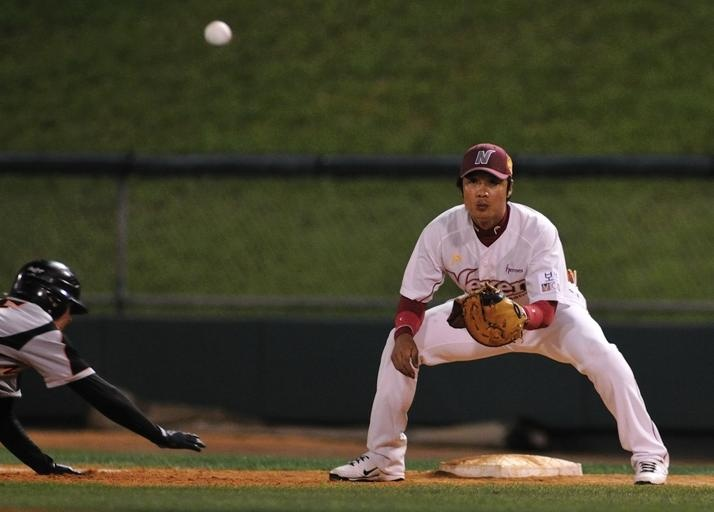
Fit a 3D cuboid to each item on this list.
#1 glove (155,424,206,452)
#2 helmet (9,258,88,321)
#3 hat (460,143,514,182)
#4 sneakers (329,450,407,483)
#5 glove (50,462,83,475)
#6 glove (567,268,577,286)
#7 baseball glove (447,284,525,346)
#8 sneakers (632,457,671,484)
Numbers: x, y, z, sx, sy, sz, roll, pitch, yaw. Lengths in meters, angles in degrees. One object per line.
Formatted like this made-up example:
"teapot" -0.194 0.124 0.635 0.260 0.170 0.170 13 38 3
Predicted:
"glove" -1.564 1.687 12.523 0.444 0.128 0.271 15 38 -28
"helmet" -2.761 0.256 12.658 0.631 0.510 0.462 21 85 -21
"hat" 1.175 -0.842 12.514 0.456 0.266 0.324 2 43 7
"sneakers" 0.098 1.900 12.681 0.685 0.259 0.282 3 84 -2
"glove" -2.720 1.967 12.909 0.180 0.053 0.048 22 36 -13
"glove" 2.030 0.180 12.944 0.064 0.162 0.164 -5 84 8
"baseball glove" 1.184 0.595 12.472 0.713 0.659 0.326 6 45 13
"sneakers" 2.651 1.955 12.422 0.307 0.296 0.250 -1 43 5
